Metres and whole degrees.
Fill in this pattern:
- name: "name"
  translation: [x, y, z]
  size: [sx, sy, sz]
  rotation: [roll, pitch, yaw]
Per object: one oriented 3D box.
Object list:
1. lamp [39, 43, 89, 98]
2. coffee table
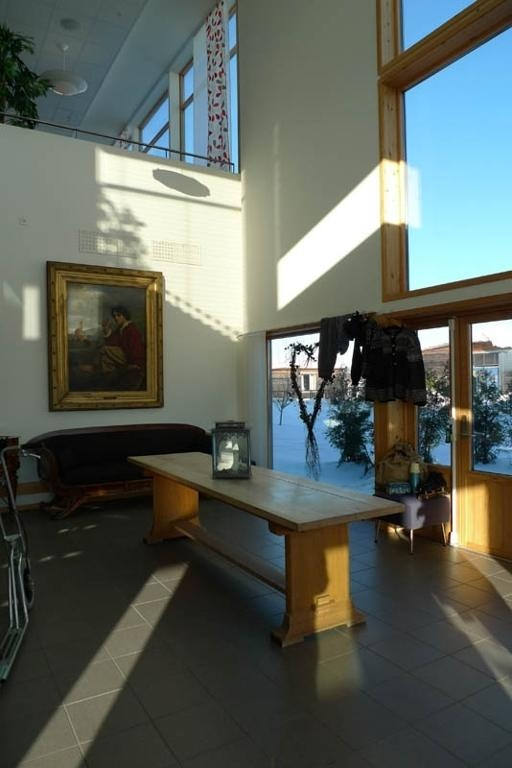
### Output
- name: "lamp"
  translation: [-2.751, -4.576, 7.784]
  size: [0.463, 0.577, 0.490]
  rotation: [1, -1, -7]
- name: "coffee table"
  translation: [-0.172, 0.975, 3.827]
  size: [0.782, 0.829, 2.813]
  rotation: [0, -1, -30]
